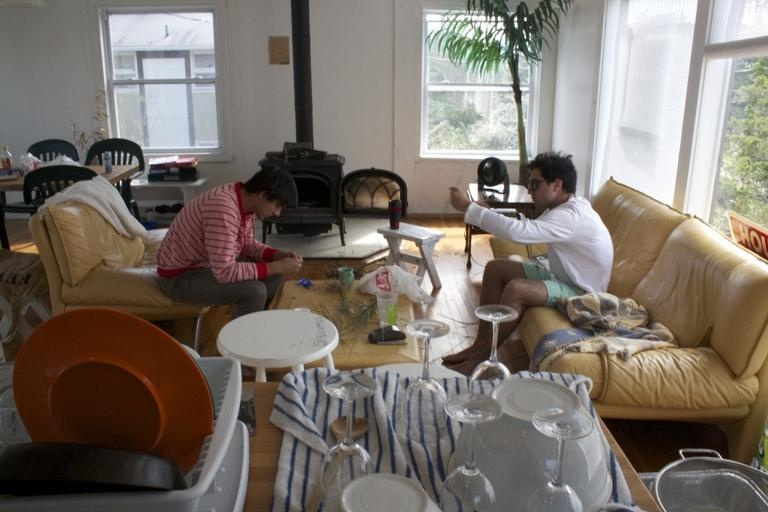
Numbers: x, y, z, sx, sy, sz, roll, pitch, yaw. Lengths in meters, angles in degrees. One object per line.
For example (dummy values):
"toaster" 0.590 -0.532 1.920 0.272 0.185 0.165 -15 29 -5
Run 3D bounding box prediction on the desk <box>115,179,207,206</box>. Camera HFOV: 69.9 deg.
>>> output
"desk" -2.288 -0.656 5.614 0.528 0.265 0.291 5 34 3

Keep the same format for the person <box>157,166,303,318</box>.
"person" -0.939 0.051 3.308 0.800 1.140 0.634 9 12 -2

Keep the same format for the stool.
"stool" 0.203 0.010 4.244 0.379 0.402 0.301 27 42 33

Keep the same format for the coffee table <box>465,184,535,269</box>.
"coffee table" 0.839 -0.225 3.976 0.368 0.445 0.658 -1 22 0

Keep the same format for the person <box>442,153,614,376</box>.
"person" 0.854 0.045 3.324 0.960 1.310 0.664 3 8 -11

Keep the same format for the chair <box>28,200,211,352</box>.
"chair" -1.538 0.108 3.388 1.010 0.925 0.837 7 22 -21

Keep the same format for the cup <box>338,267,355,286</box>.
"cup" -0.236 0.129 3.386 0.104 0.126 0.099 2 5 0
